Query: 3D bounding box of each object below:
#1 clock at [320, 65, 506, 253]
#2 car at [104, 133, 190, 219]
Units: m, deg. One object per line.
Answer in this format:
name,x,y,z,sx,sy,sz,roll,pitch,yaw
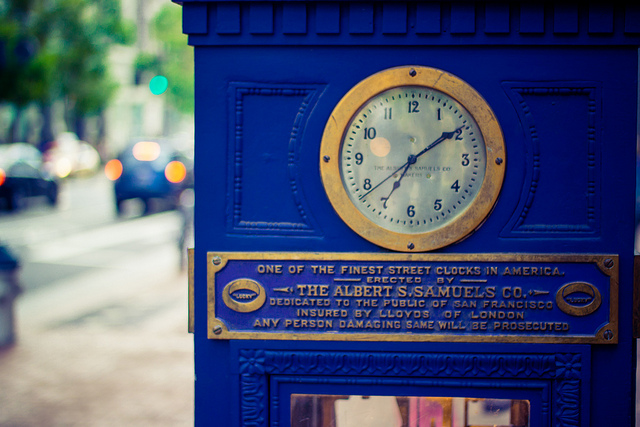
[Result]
clock,1.061,-0.642,11.662,1.582,1.921,0.253,-1,-1,3
car,-3.622,-0.758,23.105,1.607,1.408,2.550,1,8,-19
